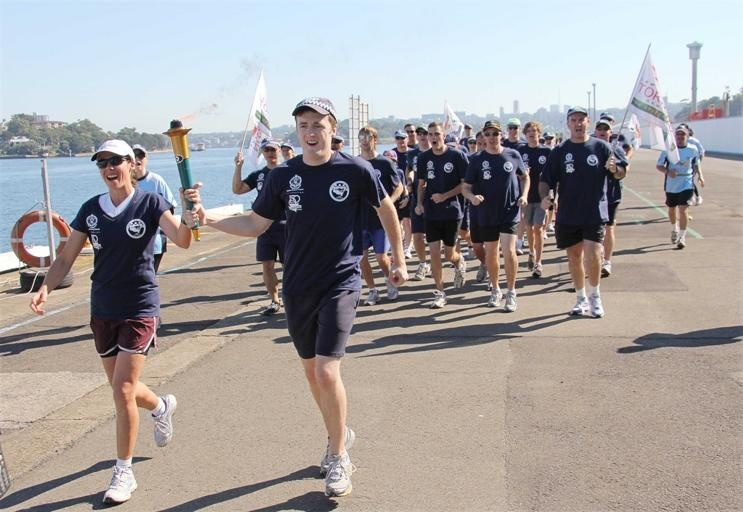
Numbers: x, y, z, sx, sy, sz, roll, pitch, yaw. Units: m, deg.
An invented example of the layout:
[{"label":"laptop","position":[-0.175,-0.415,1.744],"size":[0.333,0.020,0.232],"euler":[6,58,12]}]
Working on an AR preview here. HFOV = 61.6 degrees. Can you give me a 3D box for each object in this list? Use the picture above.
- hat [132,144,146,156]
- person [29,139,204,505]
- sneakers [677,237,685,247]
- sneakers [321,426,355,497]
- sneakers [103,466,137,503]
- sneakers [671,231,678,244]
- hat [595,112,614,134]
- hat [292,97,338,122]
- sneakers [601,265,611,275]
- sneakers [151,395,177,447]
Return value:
[{"label":"hat","position":[-3.279,-1.495,8.858],"size":[0.184,0.102,0.288],"euler":[-7,6,-6]},{"label":"person","position":[-2.012,0.414,5.168],"size":[1.168,2.682,1.189],"euler":[-10,15,-27]},{"label":"sneakers","position":[6.229,-0.284,12.598],"size":[0.117,0.084,0.171],"euler":[16,40,12]},{"label":"sneakers","position":[-0.254,1.647,4.948],"size":[0.194,0.222,0.514],"euler":[-1,11,1]},{"label":"sneakers","position":[-1.929,1.768,4.841],"size":[0.134,0.155,0.347],"euler":[0,4,-5]},{"label":"sneakers","position":[6.321,-0.392,13.039],"size":[0.090,0.106,0.260],"euler":[6,44,17]},{"label":"hat","position":[4.402,-2.529,11.795],"size":[0.432,0.356,0.703],"euler":[-3,1,22]},{"label":"hat","position":[-0.444,-1.143,4.856],"size":[0.304,0.157,0.222],"euler":[-5,13,-9]},{"label":"sneakers","position":[3.985,0.232,10.577],"size":[0.158,0.136,0.130],"euler":[-13,27,-7]},{"label":"sneakers","position":[-1.856,1.442,5.560],"size":[0.174,0.466,0.236],"euler":[1,-1,27]}]
